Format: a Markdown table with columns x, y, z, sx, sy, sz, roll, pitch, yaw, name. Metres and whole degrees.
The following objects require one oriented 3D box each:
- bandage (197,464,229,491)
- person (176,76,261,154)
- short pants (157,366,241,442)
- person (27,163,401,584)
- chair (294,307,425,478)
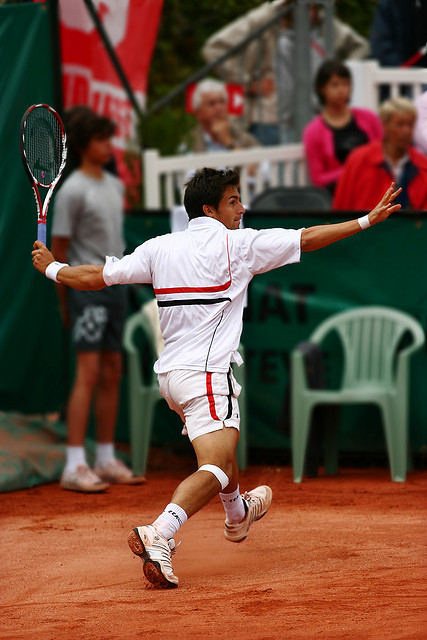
| x | y | z | sx | sy | sz | roll | pitch | yaw | name |
| --- | --- | --- | --- | --- | --- | --- | --- | --- | --- |
| -0.001 | 0.569 | 2.854 | 0.088 | 0.024 | 0.090 | 35 | 6 | -46 | bandage |
| 0.011 | -2.064 | 8.203 | 1.235 | 0.772 | 0.512 | -9 | 13 | -10 | person |
| -0.075 | 0.278 | 3.033 | 0.243 | 0.314 | 0.369 | -4 | -5 | -22 | short pants |
| -0.047 | 0.184 | 3.055 | 1.514 | 1.462 | 1.020 | -2 | 0 | 17 | person |
| 0.947 | 0.444 | 4.964 | 0.969 | 1.241 | 0.913 | -1 | -2 | 20 | chair |
